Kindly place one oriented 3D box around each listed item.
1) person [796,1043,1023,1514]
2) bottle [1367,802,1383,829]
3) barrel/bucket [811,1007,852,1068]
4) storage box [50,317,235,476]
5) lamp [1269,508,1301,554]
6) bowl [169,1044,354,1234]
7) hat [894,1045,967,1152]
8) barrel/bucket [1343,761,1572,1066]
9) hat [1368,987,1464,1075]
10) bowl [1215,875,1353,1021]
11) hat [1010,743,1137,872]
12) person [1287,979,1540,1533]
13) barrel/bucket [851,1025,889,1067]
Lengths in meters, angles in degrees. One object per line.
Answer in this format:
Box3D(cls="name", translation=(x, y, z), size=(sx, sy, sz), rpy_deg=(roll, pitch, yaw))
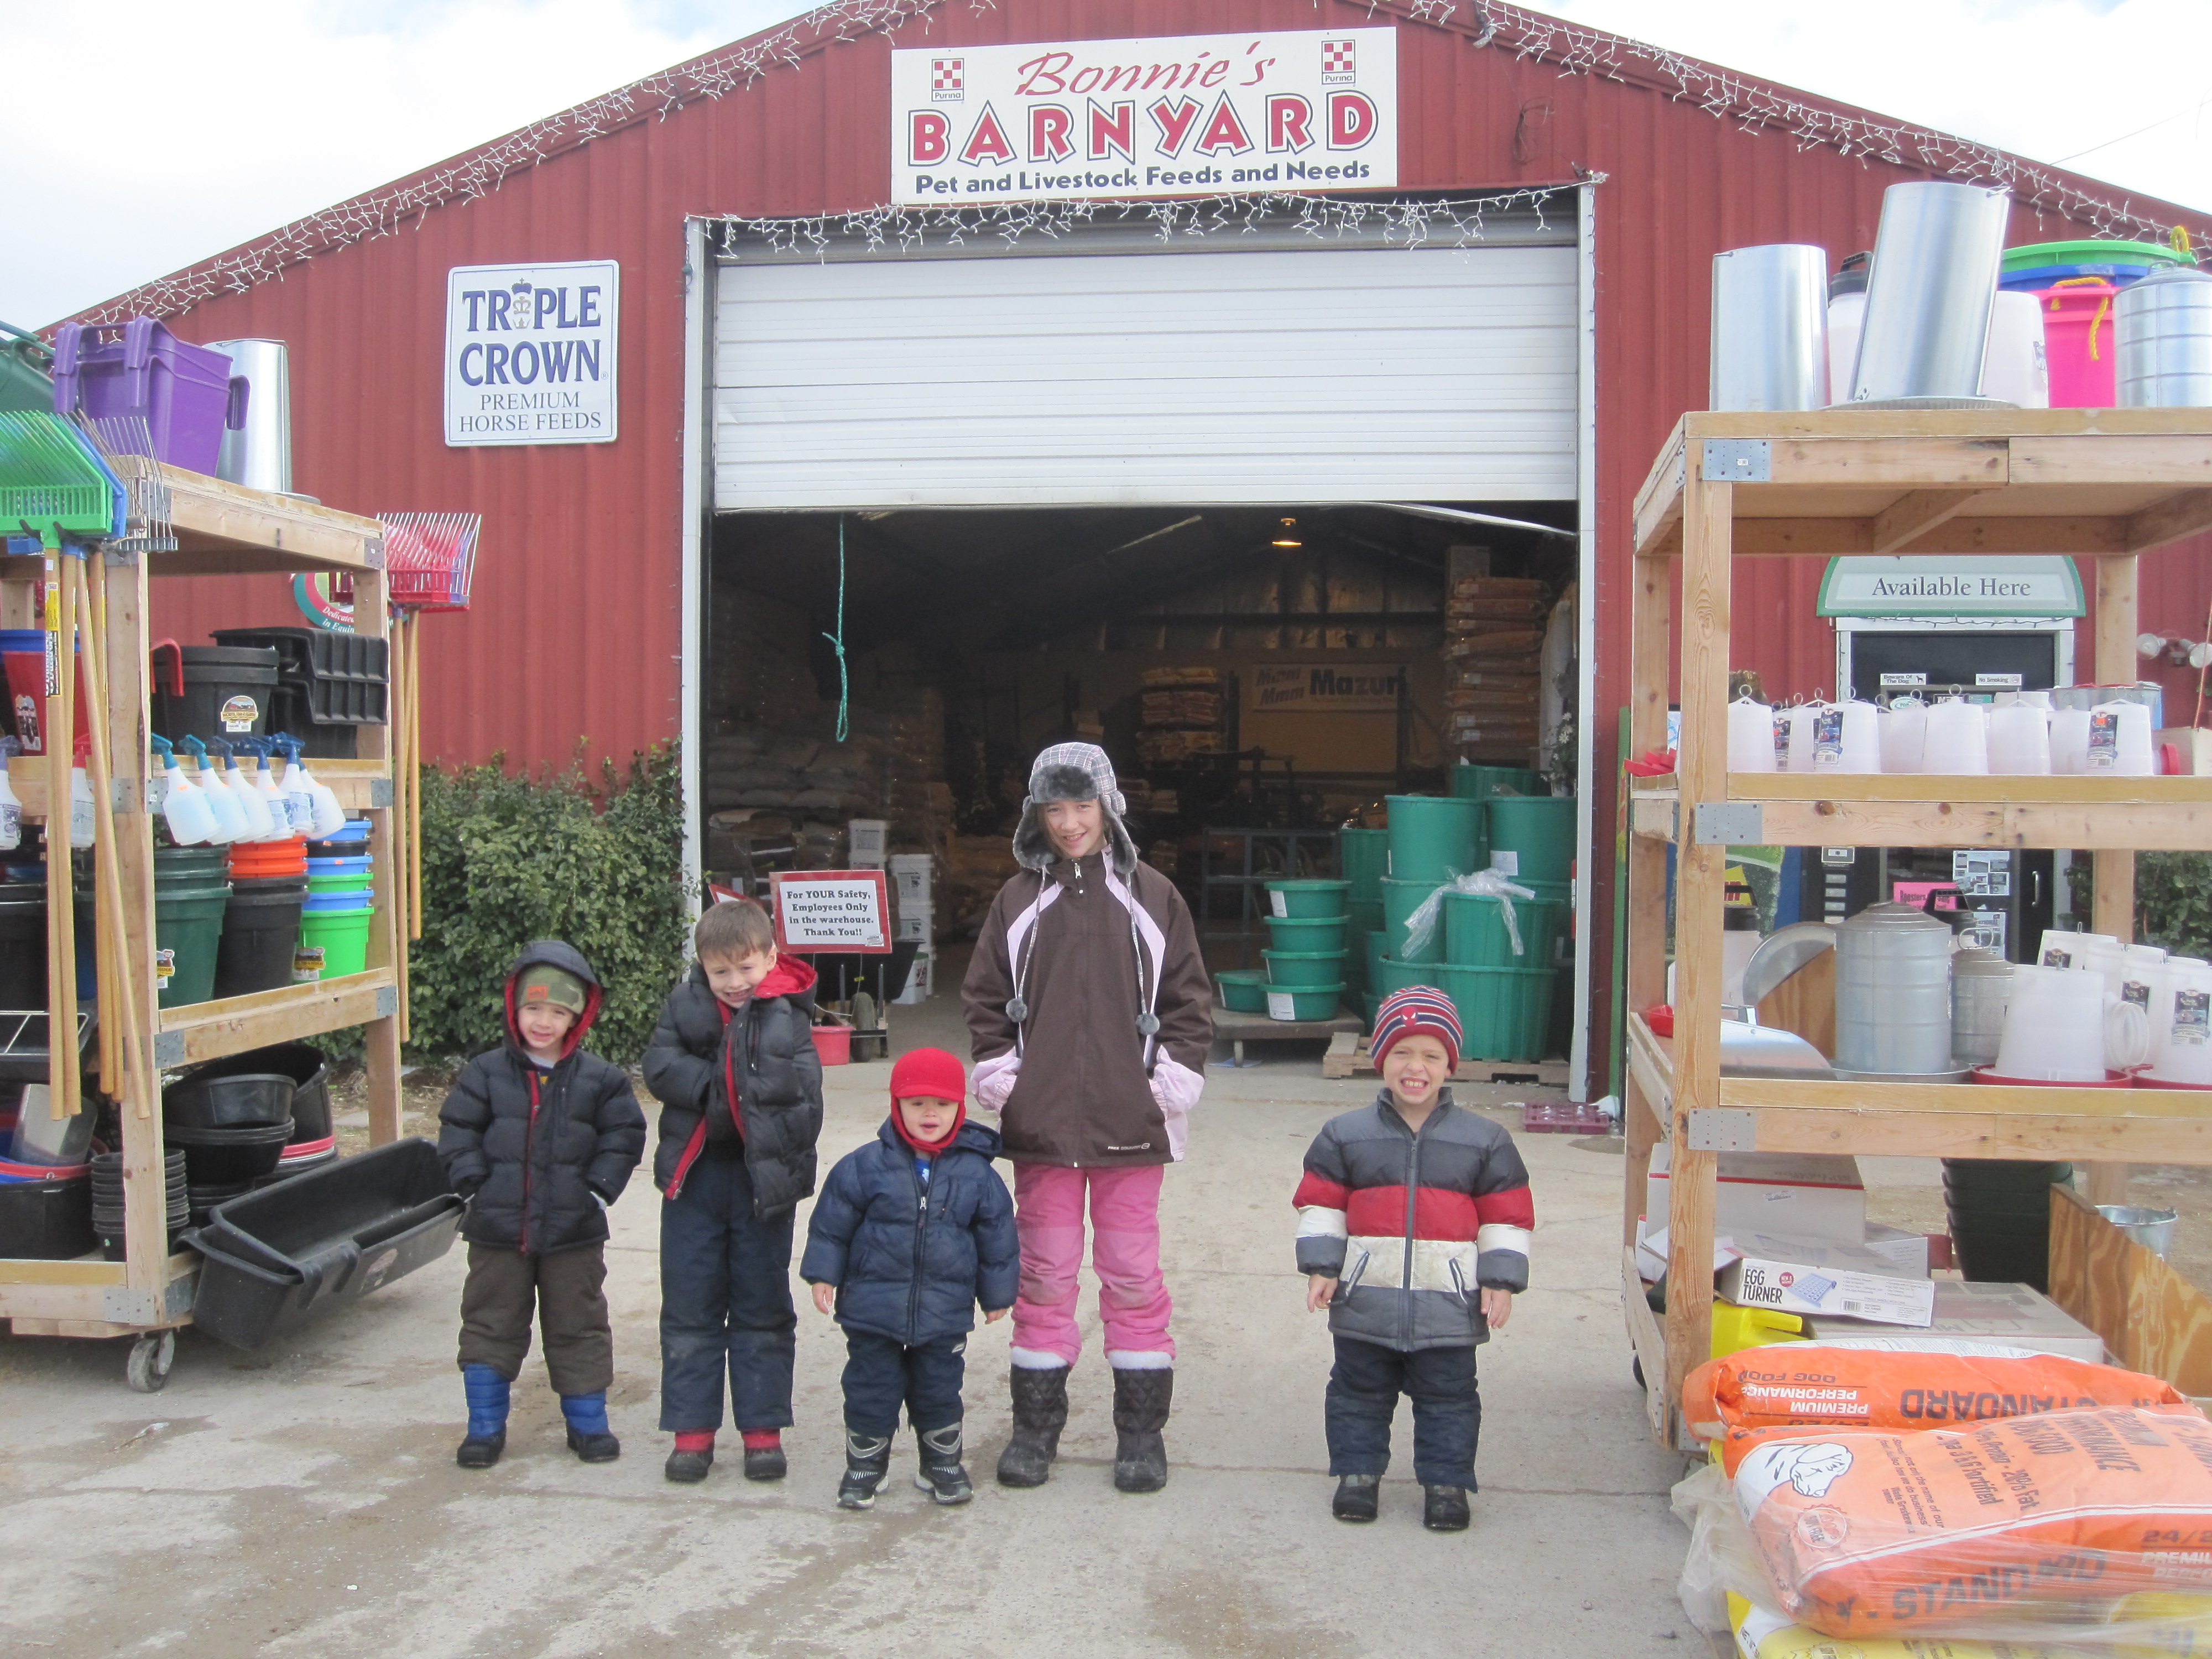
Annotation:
Box3D(cls="person", translation=(-0.532, 1.227, 6.641), size=(0.583, 1.209, 0.397), rpy_deg=(-1, 12, -7))
Box3D(cls="bottle", translation=(2.090, -0.128, 18.481), size=(0.092, 0.127, 0.176), rpy_deg=(3, -3, 2))
Box3D(cls="barrel/bucket", translation=(-1.389, 1.045, 12.212), size=(0.272, 0.209, 0.279), rpy_deg=(0, -6, 0))
Box3D(cls="storage box", translation=(-3.071, -1.415, 7.687), size=(0.307, 0.371, 0.506), rpy_deg=(0, 8, 13))
Box3D(cls="lamp", translation=(1.544, -2.527, 20.178), size=(0.201, 0.210, 0.373), rpy_deg=(0, -1, 5))
Box3D(cls="bowl", translation=(-2.766, 0.946, 7.830), size=(0.487, 0.441, 0.394), rpy_deg=(0, -2, 10))
Box3D(cls="hat", translation=(-0.479, 0.740, 6.702), size=(0.197, 0.266, 0.267), rpy_deg=(0, 1, -3))
Box3D(cls="barrel/bucket", translation=(1.808, 0.450, 11.640), size=(1.072, 1.255, 1.192), rpy_deg=(1, -9, 1))
Box3D(cls="hat", translation=(0.884, 0.536, 6.729), size=(0.270, 0.263, 0.276), rpy_deg=(3, -9, 2))
Box3D(cls="bowl", translation=(0.963, 0.629, 12.688), size=(0.619, 0.647, 0.732), rpy_deg=(1, -6, 7))
Box3D(cls="hat", translation=(-0.090, -0.101, 7.026), size=(0.325, 0.391, 0.376), rpy_deg=(-4, 11, 0))
Box3D(cls="person", translation=(0.844, 1.158, 6.574), size=(0.627, 1.375, 0.510), rpy_deg=(1, 12, 5))
Box3D(cls="barrel/bucket", translation=(-1.217, 1.115, 12.452), size=(0.141, 0.196, 0.195), rpy_deg=(0, -1, -1))
